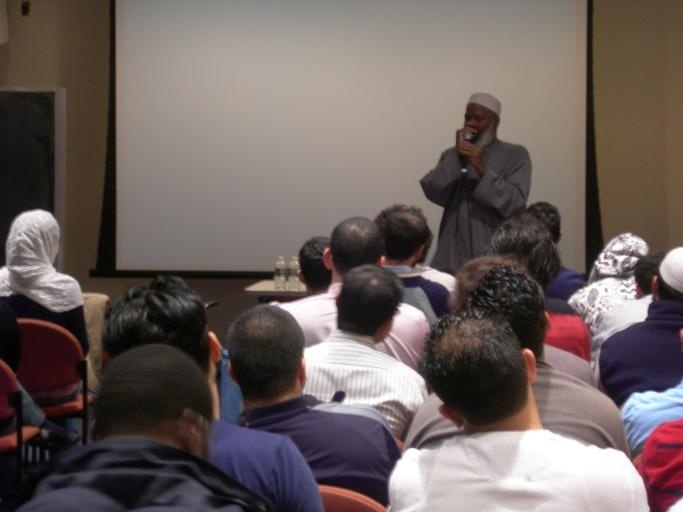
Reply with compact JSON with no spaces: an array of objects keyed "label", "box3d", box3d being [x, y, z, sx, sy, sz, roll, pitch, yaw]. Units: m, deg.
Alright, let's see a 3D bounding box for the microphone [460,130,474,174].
[{"label":"microphone","box3d":[0.790,-0.653,4.155,0.102,0.283,0.130,3,6,11]}]
